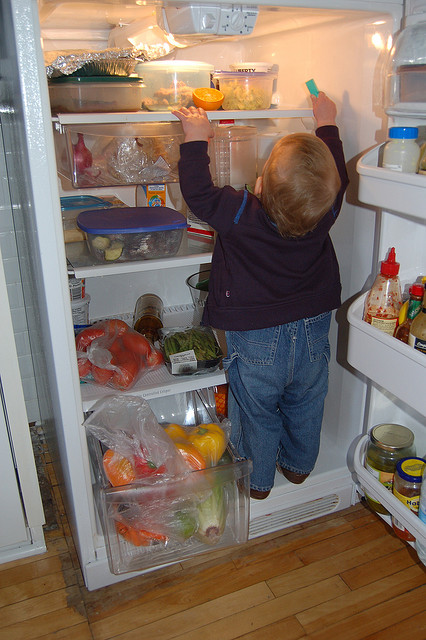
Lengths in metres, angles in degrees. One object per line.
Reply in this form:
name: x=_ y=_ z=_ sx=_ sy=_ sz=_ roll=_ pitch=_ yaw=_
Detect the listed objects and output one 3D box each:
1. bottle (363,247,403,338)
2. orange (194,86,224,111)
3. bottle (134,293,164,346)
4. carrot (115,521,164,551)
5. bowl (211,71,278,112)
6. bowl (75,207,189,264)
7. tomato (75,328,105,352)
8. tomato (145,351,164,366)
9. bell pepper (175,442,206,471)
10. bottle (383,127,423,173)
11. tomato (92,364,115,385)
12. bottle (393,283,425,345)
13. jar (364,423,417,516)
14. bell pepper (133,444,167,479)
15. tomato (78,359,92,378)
bottle: x=0.346 y=-0.056 z=0.946 sx=0.067 sy=0.184 sz=0.073 roll=0 pitch=22 yaw=0
orange: x=-0.008 y=-0.488 z=0.987 sx=0.057 sy=0.058 sz=0.035 roll=-20 pitch=-16 yaw=-23
bottle: x=-0.198 y=-0.011 z=1.380 sx=0.085 sy=0.093 sz=0.268 roll=-4 pitch=16 yaw=-8
carrot: x=-0.153 y=0.440 z=0.952 sx=0.067 sy=0.087 sz=0.072 roll=-5 pitch=-17 yaw=23
bowl: x=0.091 y=-0.507 z=1.032 sx=0.128 sy=0.066 sz=0.129 roll=-2 pitch=30 yaw=1
bowl: x=-0.185 y=-0.198 z=1.038 sx=0.238 sy=0.109 sz=0.246 roll=-1 pitch=16 yaw=0
tomato: x=-0.314 y=0.043 z=1.134 sx=0.047 sy=0.027 sz=0.062 roll=8 pitch=24 yaw=17
tomato: x=-0.152 y=0.099 z=1.164 sx=0.031 sy=0.016 sz=0.040 roll=-9 pitch=16 yaw=-21
bell pepper: x=-0.049 y=0.295 z=1.003 sx=0.053 sy=0.030 sz=0.043 roll=36 pitch=3 yaw=0
bottle: x=0.349 y=-0.308 z=0.823 sx=0.067 sy=0.076 sz=0.046 roll=3 pitch=16 yaw=17
tomato: x=-0.262 y=0.130 z=1.069 sx=0.060 sy=0.042 sz=0.012 roll=4 pitch=16 yaw=19
bottle: x=0.392 y=-0.017 z=0.887 sx=0.044 sy=0.117 sz=0.042 roll=2 pitch=26 yaw=-1
jar: x=0.415 y=0.334 z=1.097 sx=0.104 sy=0.233 sz=0.107 roll=1 pitch=24 yaw=0
bell pepper: x=-0.130 y=0.302 z=0.970 sx=0.057 sy=0.050 sz=0.059 roll=-21 pitch=16 yaw=23
tomato: x=-0.308 y=0.114 z=1.082 sx=0.040 sy=0.040 sz=0.033 roll=2 pitch=11 yaw=1
